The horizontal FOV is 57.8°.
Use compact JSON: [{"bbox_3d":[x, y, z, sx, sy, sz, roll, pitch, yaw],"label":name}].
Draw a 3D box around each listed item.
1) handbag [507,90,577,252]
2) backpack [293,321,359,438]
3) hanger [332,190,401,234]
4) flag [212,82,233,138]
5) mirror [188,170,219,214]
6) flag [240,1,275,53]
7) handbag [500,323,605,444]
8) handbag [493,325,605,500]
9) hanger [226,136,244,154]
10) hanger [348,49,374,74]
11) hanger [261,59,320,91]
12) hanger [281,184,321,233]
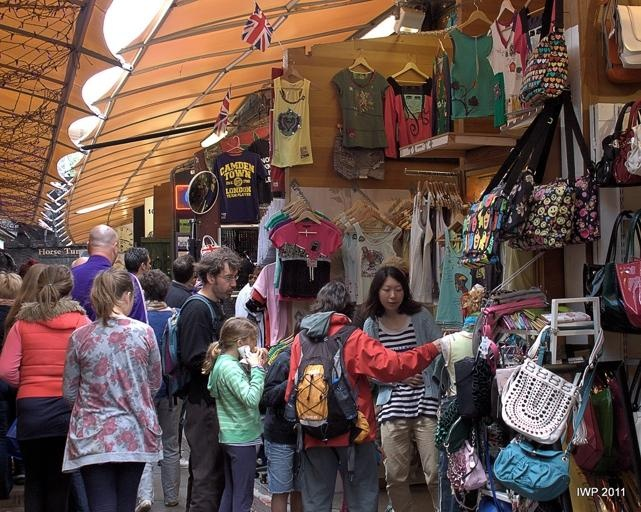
[{"bbox_3d":[1.357,-0.541,3.482,0.419,0.990,0.319,-1,-5,3],"label":"handbag"},{"bbox_3d":[0.046,0.802,3.682,0.383,0.715,0.244,-1,-5,3],"label":"backpack"},{"bbox_3d":[0.454,-0.459,6.451,0.419,0.301,0.689,-6,5,-29],"label":"hanger"},{"bbox_3d":[-1.892,-2.914,11.247,0.304,1.117,1.640,0,-6,-11],"label":"flag"},{"bbox_3d":[-2.073,-1.128,10.391,0.113,1.005,0.720,-1,10,-44],"label":"mirror"},{"bbox_3d":[-0.861,-3.155,7.986,0.401,0.712,0.403,1,-5,-12],"label":"flag"},{"bbox_3d":[1.218,0.606,2.981,0.402,0.713,0.160,24,-23,44],"label":"handbag"},{"bbox_3d":[1.103,0.759,2.912,0.303,0.935,0.354,28,-16,-39],"label":"handbag"},{"bbox_3d":[-1.433,-1.831,9.743,0.254,0.408,0.456,1,-6,-17],"label":"hanger"},{"bbox_3d":[0.463,-2.281,6.863,0.301,0.266,0.014,1,-8,-27],"label":"hanger"},{"bbox_3d":[-0.345,-2.060,6.757,0.461,0.324,0.289,1,-6,-14],"label":"hanger"},{"bbox_3d":[-0.212,-0.481,6.081,0.397,0.264,0.587,2,6,-2],"label":"hanger"}]
